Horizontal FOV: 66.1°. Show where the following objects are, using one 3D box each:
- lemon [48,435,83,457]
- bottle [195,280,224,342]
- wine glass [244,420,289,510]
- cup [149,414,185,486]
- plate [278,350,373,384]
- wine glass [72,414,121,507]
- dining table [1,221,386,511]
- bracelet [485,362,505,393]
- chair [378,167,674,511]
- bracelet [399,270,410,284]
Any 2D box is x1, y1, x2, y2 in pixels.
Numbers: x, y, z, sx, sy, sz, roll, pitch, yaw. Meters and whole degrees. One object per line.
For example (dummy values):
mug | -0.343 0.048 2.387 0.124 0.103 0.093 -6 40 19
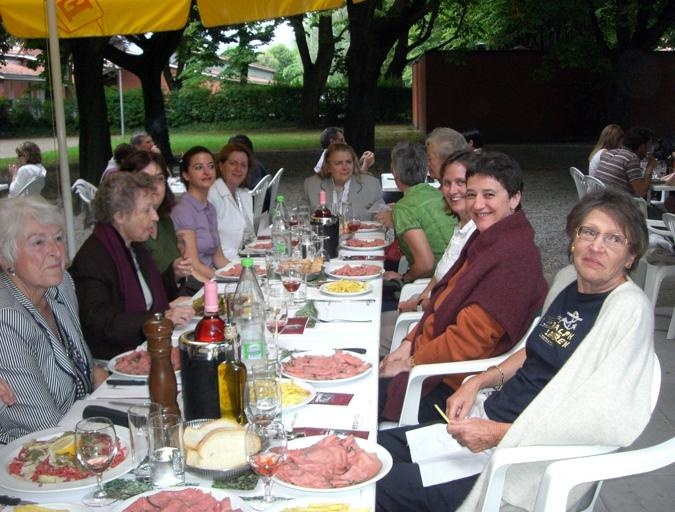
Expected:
lemon | -0.773 0.545 1.482 0.075 0.046 0.074 -12 31 -8
bottle | -0.409 0.161 1.648 0.093 0.184 0.177 -3 13 -15
wine glass | -0.189 0.550 1.396 0.110 0.202 0.147 -2 13 -10
cup | -0.475 0.537 1.438 0.093 0.199 0.078 -3 13 -15
plate | -0.040 0.452 2.131 0.370 0.062 0.213 -1 12 -5
wine glass | -0.662 0.549 1.439 0.102 0.192 0.200 -5 14 -23
dining table | -0.590 0.484 2.375 0.904 0.318 1.322 4 15 4
bracelet | 0.733 0.571 2.420 0.034 0.114 0.106 4 -7 -42
chair | 0.860 0.284 2.591 1.439 1.602 0.965 4 8 6
bracelet | 0.541 0.167 4.110 0.102 0.077 0.040 -17 21 -15
